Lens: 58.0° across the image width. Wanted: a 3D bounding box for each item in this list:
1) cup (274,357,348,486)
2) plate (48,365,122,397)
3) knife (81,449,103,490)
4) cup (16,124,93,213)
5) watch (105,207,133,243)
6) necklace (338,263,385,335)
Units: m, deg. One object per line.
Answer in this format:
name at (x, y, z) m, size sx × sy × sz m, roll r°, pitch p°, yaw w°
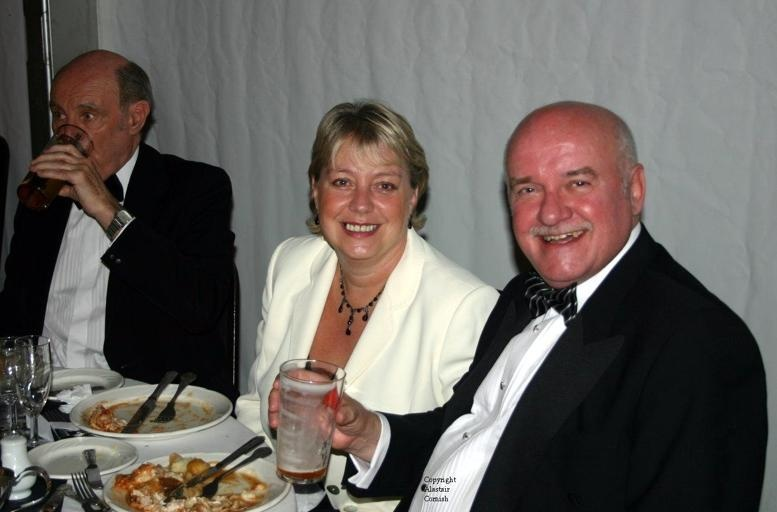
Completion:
cup at (-0.252, 0.534, 2.168) m, size 0.215 × 0.406 × 0.161 m, roll 3°, pitch 4°, yaw 5°
plate at (-1.234, 0.497, 2.846) m, size 0.156 × 0.021 × 0.155 m, roll -2°, pitch 18°, yaw -31°
knife at (-0.954, 0.687, 2.252) m, size 0.044 × 0.031 × 0.226 m, roll 1°, pitch 17°, yaw -16°
cup at (-1.514, -0.410, 3.184) m, size 0.230 × 0.402 × 0.326 m, roll 3°, pitch 4°, yaw -4°
watch at (-1.262, -0.146, 3.273) m, size 0.077 × 0.119 × 0.108 m, roll 40°, pitch 29°, yaw 0°
necklace at (-0.104, 0.186, 2.971) m, size 0.250 × 0.254 × 0.026 m, roll 19°, pitch -4°, yaw 37°
